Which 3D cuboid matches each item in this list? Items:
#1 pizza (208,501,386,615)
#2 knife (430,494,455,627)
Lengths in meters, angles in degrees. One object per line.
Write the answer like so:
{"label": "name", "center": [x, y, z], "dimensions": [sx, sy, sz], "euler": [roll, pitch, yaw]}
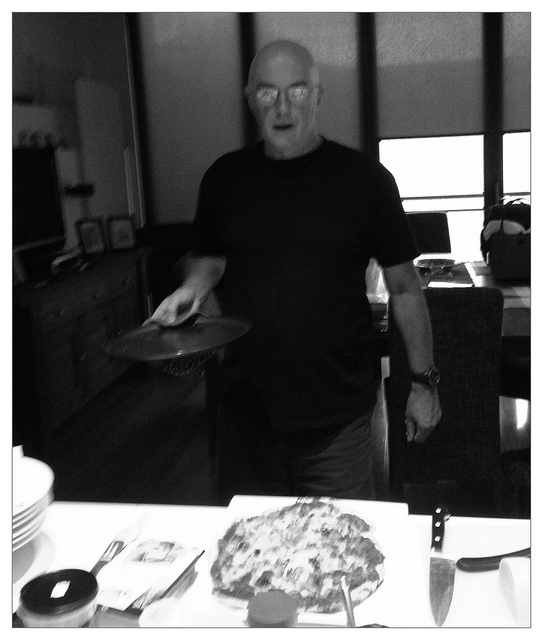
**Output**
{"label": "pizza", "center": [0.028, 0.259, 0.617], "dimensions": [0.183, 0.046, 0.148], "euler": [-2, 11, 3]}
{"label": "knife", "center": [0.173, 0.233, 0.565], "dimensions": [0.021, 0.013, 0.145], "euler": [-4, 28, 13]}
